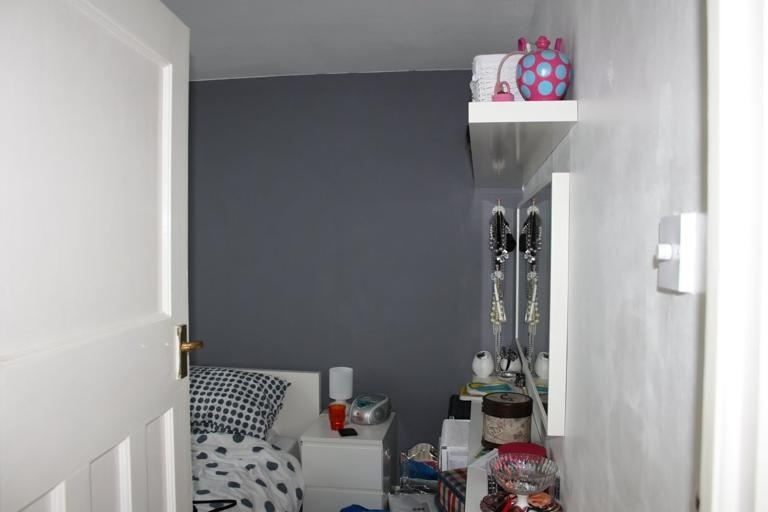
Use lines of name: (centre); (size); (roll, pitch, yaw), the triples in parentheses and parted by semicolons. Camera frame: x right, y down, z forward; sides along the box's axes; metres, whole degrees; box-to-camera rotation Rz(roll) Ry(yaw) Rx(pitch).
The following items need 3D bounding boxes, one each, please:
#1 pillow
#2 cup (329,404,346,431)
pillow: (-0.784, 0.774, 3.077); (0.487, 0.148, 0.471); (12, 35, 3)
cup: (-0.246, 0.859, 3.009); (0.108, 0.125, 0.111); (2, -5, 0)
